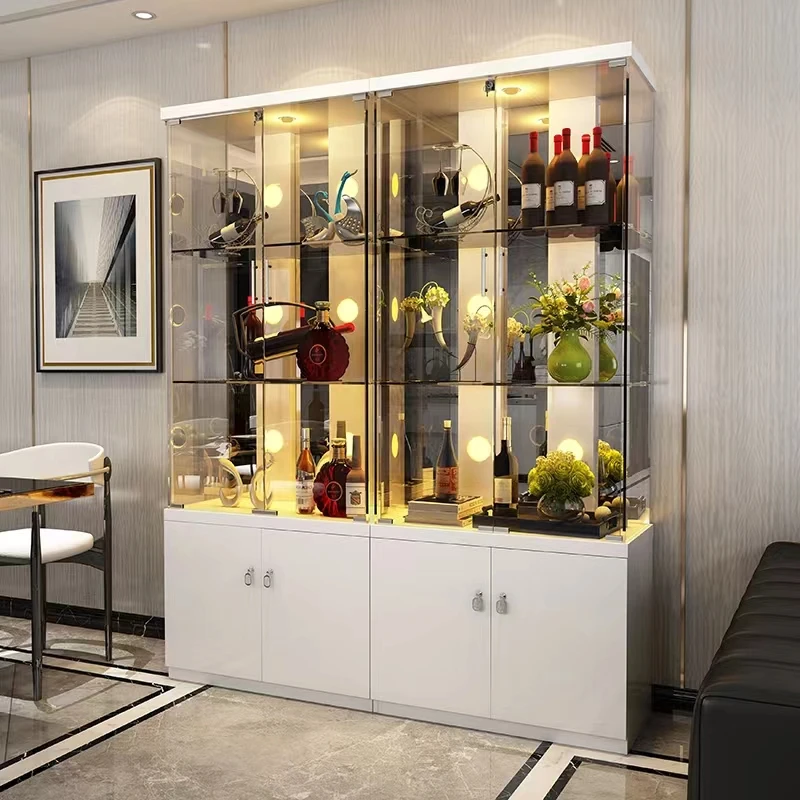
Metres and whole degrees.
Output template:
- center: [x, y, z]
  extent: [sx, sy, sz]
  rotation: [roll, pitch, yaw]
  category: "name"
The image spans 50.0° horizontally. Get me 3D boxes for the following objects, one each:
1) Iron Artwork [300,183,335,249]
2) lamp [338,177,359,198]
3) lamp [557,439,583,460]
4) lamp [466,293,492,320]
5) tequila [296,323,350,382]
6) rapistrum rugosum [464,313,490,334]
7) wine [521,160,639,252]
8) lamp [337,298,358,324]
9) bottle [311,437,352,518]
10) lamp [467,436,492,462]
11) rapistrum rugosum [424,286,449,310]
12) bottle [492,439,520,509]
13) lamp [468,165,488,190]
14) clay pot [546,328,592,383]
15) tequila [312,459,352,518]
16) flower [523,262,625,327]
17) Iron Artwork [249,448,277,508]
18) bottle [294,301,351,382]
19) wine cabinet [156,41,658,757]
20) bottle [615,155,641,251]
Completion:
- center: [-0.347, -0.746, 3.457]
  extent: [0.152, 0.118, 0.263]
  rotation: [0, -27, -15]
  category: "Iron Artwork"
- center: [-0.193, -0.842, 3.389]
  extent: [0.057, 0.087, 0.065]
  rotation: [0, 4, -1]
  category: "lamp"
- center: [0.603, 0.175, 3.067]
  extent: [0.060, 0.090, 0.068]
  rotation: [-2, -10, -12]
  category: "lamp"
- center: [0.292, -0.344, 3.185]
  extent: [0.071, 0.109, 0.082]
  rotation: [0, -3, -9]
  category: "lamp"
- center: [-0.302, -0.200, 3.468]
  extent: [0.177, 0.309, 0.101]
  rotation: [3, 5, 39]
  category: "tequila"
- center: [0.289, -0.286, 3.188]
  extent: [0.062, 0.048, 0.070]
  rotation: [2, 4, 18]
  category: "rapistrum rugosum"
- center: [0.688, -0.680, 3.122]
  extent: [0.293, 0.296, 0.265]
  rotation: [3, 2, 28]
  category: "wine"
- center: [-0.212, -0.353, 3.448]
  extent: [0.076, 0.114, 0.084]
  rotation: [1, -2, -16]
  category: "lamp"
- center: [-0.259, 0.335, 3.511]
  extent: [0.183, 0.330, 0.096]
  rotation: [0, -26, 0]
  category: "bottle"
- center: [0.297, 0.188, 3.230]
  extent: [0.079, 0.100, 0.020]
  rotation: [6, 3, 37]
  category: "lamp"
- center: [0.138, -0.387, 3.246]
  extent: [0.068, 0.091, 0.076]
  rotation: [1, -5, -27]
  category: "rapistrum rugosum"
- center: [0.388, 0.272, 3.152]
  extent: [0.096, 0.246, 0.022]
  rotation: [1, 3, 40]
  category: "bottle"
- center: [0.290, -0.830, 3.180]
  extent: [0.068, 0.104, 0.078]
  rotation: [1, -1, -9]
  category: "lamp"
- center: [0.605, -0.133, 3.077]
  extent: [0.134, 0.217, 0.142]
  rotation: [-1, -21, 0]
  category: "clay pot"
- center: [-0.270, 0.349, 3.544]
  extent: [0.150, 0.441, 0.111]
  rotation: [2, -44, -1]
  category: "tequila"
- center: [0.621, -0.340, 3.014]
  extent: [0.193, 0.165, 0.222]
  rotation: [-1, -1, -1]
  category: "flower"
- center: [-0.579, 0.363, 3.597]
  extent: [0.095, 0.283, 0.058]
  rotation: [6, -34, -16]
  category: "Iron Artwork"
- center: [-0.303, -0.245, 3.466]
  extent: [0.248, 0.408, 0.122]
  rotation: [0, -1, 12]
  category: "bottle"
- center: [0.078, 0.049, 3.269]
  extent: [2.127, 3.254, 0.732]
  rotation: [0, -1, 25]
  category: "wine cabinet"
- center: [0.807, -0.688, 3.042]
  extent: [0.043, 0.321, 0.244]
  rotation: [1, 3, 27]
  category: "bottle"
